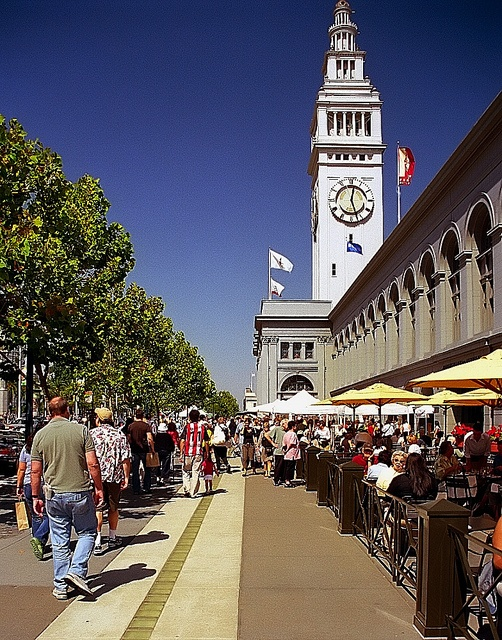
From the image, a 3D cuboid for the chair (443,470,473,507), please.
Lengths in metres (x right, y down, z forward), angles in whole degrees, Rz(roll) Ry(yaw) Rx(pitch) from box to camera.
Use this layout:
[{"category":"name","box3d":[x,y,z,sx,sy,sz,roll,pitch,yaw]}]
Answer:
[{"category":"chair","box3d":[3.564,2.915,10.171,0.457,0.517,0.709,-8,-13,44]}]

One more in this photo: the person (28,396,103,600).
[{"category":"person","box3d":[-1.851,1.742,5.970,0.605,2.002,0.518,-3,3,-10]}]

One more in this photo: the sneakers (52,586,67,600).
[{"category":"sneakers","box3d":[-1.820,2.609,5.728,0.135,0.102,0.205,4,-10,-20]}]

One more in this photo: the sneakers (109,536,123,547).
[{"category":"sneakers","box3d":[-1.999,3.270,8.813,0.101,0.143,0.292,3,-1,7]}]

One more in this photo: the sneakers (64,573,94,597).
[{"category":"sneakers","box3d":[-1.622,2.506,5.649,0.262,0.248,0.269,3,-9,-17]}]

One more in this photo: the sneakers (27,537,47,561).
[{"category":"sneakers","box3d":[-2.794,3.003,7.836,0.146,0.429,0.178,-13,-4,9]}]

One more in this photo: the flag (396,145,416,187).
[{"category":"flag","box3d":[11.468,-11.229,44.316,0.798,3.211,1.546,-7,-11,43]}]

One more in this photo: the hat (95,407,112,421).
[{"category":"hat","box3d":[-2.179,1.395,8.896,0.073,0.258,0.225,-2,-3,45]}]
